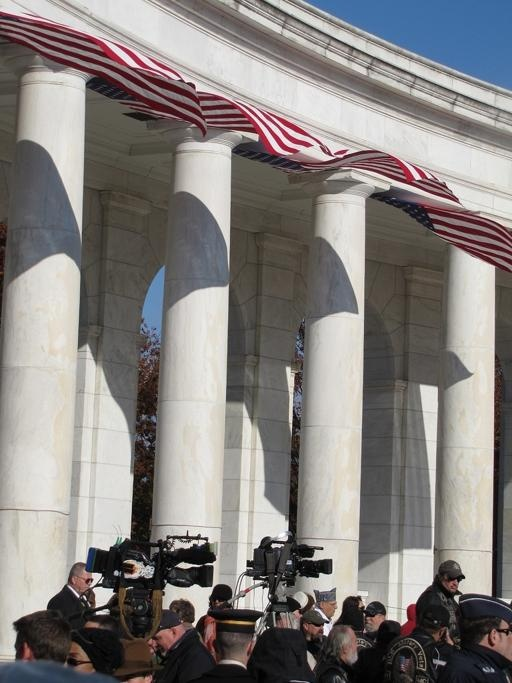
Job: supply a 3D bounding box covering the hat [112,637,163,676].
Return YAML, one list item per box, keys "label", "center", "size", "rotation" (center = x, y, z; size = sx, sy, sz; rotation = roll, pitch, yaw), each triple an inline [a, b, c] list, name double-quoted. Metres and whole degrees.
- label: "hat"
  center: [-1.318, 3.475, 13.761]
  size: [0.558, 0.261, 0.655]
  rotation: [6, -7, -18]

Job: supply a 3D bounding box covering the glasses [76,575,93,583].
- label: "glasses"
  center: [-3.031, 4.204, 22.369]
  size: [0.228, 0.071, 0.237]
  rotation: [8, -6, 33]

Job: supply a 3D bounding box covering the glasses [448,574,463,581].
- label: "glasses"
  center: [3.873, 4.609, 24.751]
  size: [0.294, 0.141, 0.186]
  rotation: [12, -11, 15]

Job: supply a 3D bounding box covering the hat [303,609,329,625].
- label: "hat"
  center: [0.960, 4.636, 21.032]
  size: [0.375, 0.221, 0.255]
  rotation: [3, 7, 25]

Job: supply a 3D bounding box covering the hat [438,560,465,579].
- label: "hat"
  center: [3.846, 4.522, 24.974]
  size: [0.428, 0.378, 0.630]
  rotation: [7, -13, -16]

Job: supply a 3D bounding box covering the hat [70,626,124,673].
- label: "hat"
  center: [-1.670, 3.229, 13.163]
  size: [0.505, 0.421, 0.467]
  rotation: [1, -9, 14]

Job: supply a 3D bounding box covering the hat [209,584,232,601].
- label: "hat"
  center: [-0.713, 5.038, 25.176]
  size: [0.294, 0.383, 0.419]
  rotation: [-3, -38, 16]

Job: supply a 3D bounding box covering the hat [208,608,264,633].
- label: "hat"
  center: [-0.237, 3.011, 13.570]
  size: [0.522, 0.264, 0.505]
  rotation: [4, -9, -3]

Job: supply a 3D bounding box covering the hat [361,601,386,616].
- label: "hat"
  center: [2.428, 5.500, 25.964]
  size: [0.417, 0.272, 0.289]
  rotation: [19, -21, -25]
